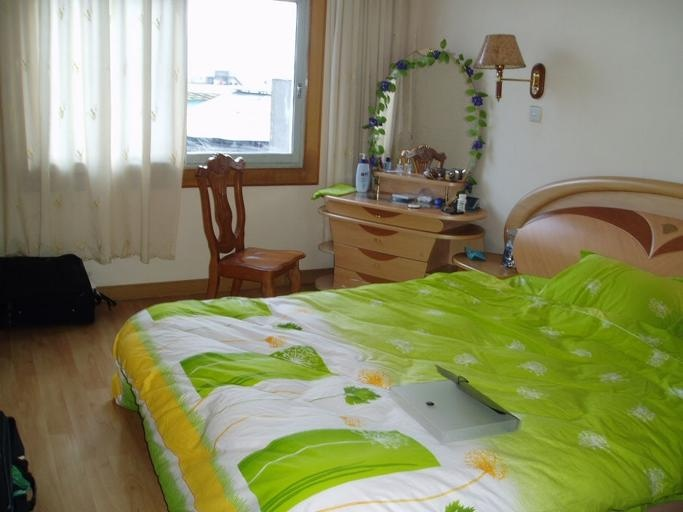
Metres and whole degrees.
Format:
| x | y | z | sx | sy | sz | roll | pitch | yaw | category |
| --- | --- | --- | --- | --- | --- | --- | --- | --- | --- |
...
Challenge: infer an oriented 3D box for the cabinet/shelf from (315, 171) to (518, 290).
| x | y | z | sx | sy | sz | roll | pitch | yaw | category |
| --- | --- | --- | --- | --- | --- | --- | --- | --- | --- |
| 0.586 | -0.588 | 3.909 | 1.573 | 1.093 | 0.823 | 15 | 20 | 39 | cabinet/shelf |

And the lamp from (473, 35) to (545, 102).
| x | y | z | sx | sy | sz | roll | pitch | yaw | category |
| --- | --- | --- | --- | --- | --- | --- | --- | --- | --- |
| 1.135 | -1.316 | 3.555 | 0.542 | 0.439 | 0.328 | -7 | 14 | -31 | lamp |

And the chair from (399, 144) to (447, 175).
| x | y | z | sx | sy | sz | roll | pitch | yaw | category |
| --- | --- | --- | --- | --- | --- | --- | --- | --- | --- |
| 0.629 | -0.783 | 4.074 | 0.333 | 0.398 | 0.283 | 0 | 8 | -5 | chair |

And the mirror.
| x | y | z | sx | sy | sz | roll | pitch | yaw | category |
| --- | --- | --- | --- | --- | --- | --- | --- | --- | --- |
| 0.715 | -1.191 | 4.147 | 0.935 | 0.979 | 0.111 | 24 | 25 | 35 | mirror |
